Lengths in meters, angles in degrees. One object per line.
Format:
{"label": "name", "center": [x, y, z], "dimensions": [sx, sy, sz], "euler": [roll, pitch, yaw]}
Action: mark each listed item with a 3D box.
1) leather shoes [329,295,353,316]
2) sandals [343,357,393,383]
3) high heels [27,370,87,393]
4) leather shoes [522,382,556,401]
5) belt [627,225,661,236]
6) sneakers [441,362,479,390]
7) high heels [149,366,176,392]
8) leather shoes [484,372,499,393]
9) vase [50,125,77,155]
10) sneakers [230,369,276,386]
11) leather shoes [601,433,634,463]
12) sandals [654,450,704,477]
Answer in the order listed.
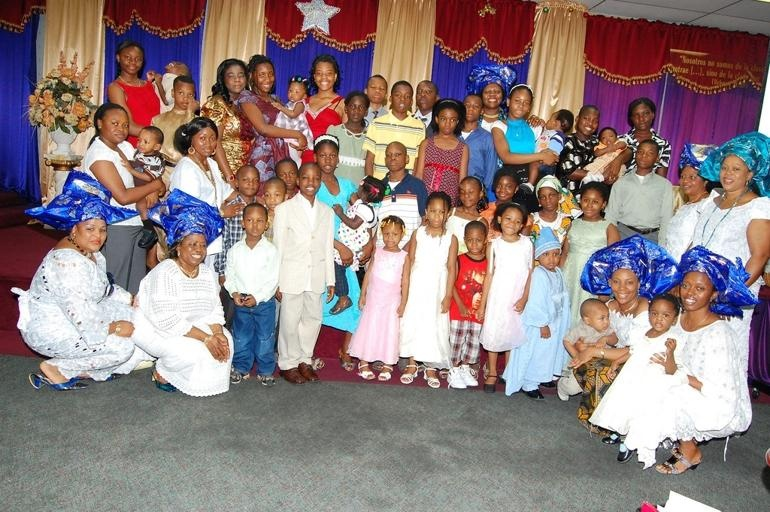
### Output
{"label": "leather shoes", "center": [-0.399, 0.445, 5.881], "dimensions": [0.217, 0.149, 0.116], "euler": [-35, 13, -6]}
{"label": "sandals", "center": [-0.158, 1.021, 5.727], "dimensions": [0.208, 0.097, 0.396], "euler": [-8, 16, -22]}
{"label": "high heels", "center": [-2.668, 1.046, 5.248], "dimensions": [0.442, 0.122, 0.174], "euler": [4, 14, -14]}
{"label": "leather shoes", "center": [1.375, 1.197, 5.680], "dimensions": [0.373, 0.158, 0.127], "euler": [-7, 34, -4]}
{"label": "belt", "center": [2.465, -0.243, 6.158], "dimensions": [0.344, 0.112, 0.092], "euler": [2, 13, -6]}
{"label": "sneakers", "center": [0.684, 1.065, 5.669], "dimensions": [0.264, 0.167, 0.146], "euler": [-1, 14, -17]}
{"label": "high heels", "center": [-1.854, 1.031, 5.342], "dimensions": [0.120, 0.280, 0.075], "euler": [-28, -10, -11]}
{"label": "leather shoes", "center": [0.928, 1.102, 5.645], "dimensions": [0.109, 0.159, 0.146], "euler": [6, 14, 10]}
{"label": "vase", "center": [-3.829, -1.378, 7.551], "dimensions": [0.322, 0.352, 0.311], "euler": [6, 14, 2]}
{"label": "sneakers", "center": [-1.134, 1.044, 5.513], "dimensions": [0.425, 0.184, 0.143], "euler": [-1, 36, -1]}
{"label": "leather shoes", "center": [1.835, 1.469, 5.004], "dimensions": [0.176, 0.159, 0.256], "euler": [-1, 14, -18]}
{"label": "sandals", "center": [2.209, 1.586, 4.877], "dimensions": [0.376, 0.141, 0.160], "euler": [-3, -31, 7]}
